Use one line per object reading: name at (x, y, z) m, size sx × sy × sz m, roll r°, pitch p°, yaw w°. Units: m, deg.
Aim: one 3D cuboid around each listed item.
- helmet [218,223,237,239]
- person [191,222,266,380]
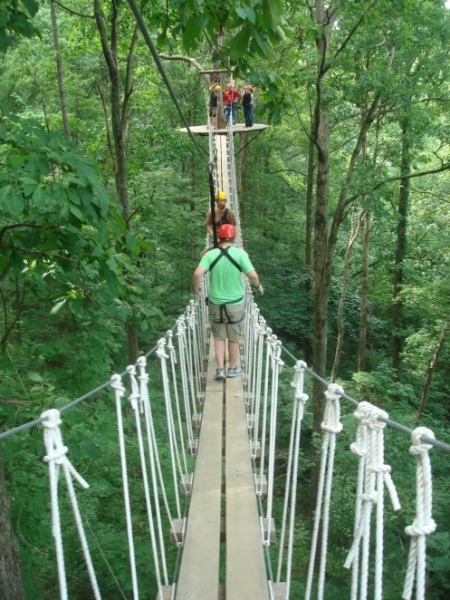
helmet at (0.010, -0.568, 5.648) m, size 0.141 × 0.134 × 0.286 m, roll 0°, pitch 4°, yaw -2°
person at (0.005, 0.020, 5.781) m, size 0.561 × 1.324 × 0.890 m, roll 0°, pitch 5°, yaw -3°
